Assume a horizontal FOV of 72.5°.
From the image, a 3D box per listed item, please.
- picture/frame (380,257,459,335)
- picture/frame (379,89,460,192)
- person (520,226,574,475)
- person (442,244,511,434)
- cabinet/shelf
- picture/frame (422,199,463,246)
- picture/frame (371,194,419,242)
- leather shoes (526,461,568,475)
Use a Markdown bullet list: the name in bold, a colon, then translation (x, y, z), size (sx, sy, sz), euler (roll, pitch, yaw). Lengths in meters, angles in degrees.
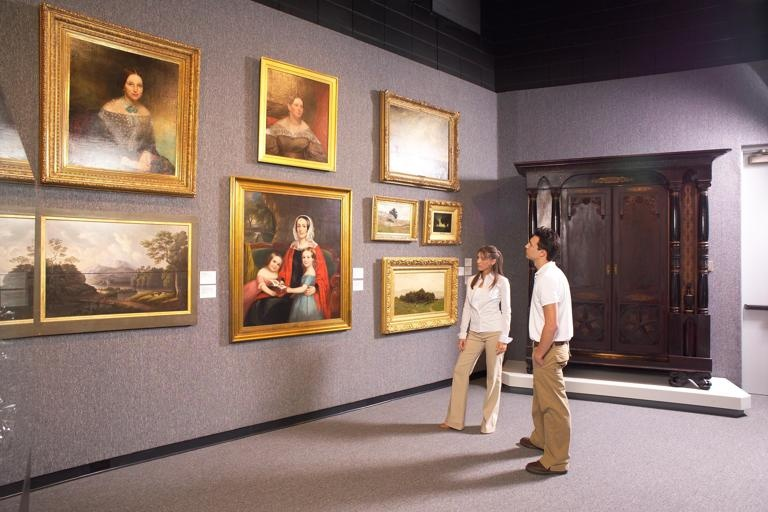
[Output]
- **picture/frame**: translation (0.475, 0.585, 7.908), size (0.075, 0.876, 1.242), euler (-2, -1, 45)
- **picture/frame**: translation (0.557, -1.703, 8.006), size (1.727, 1.358, 0.127), euler (1, -1, -40)
- **person**: translation (1.734, 0.969, 5.549), size (0.517, 2.513, 0.607), euler (2, 6, 16)
- **person**: translation (1.155, 1.008, 6.501), size (0.759, 2.238, 0.522), euler (1, 6, 9)
- **cabinet/shelf**: translation (3.564, 0.209, 7.507), size (3.492, 4.122, 1.122), euler (-2, -4, 24)
- **picture/frame**: translation (0.919, -0.526, 8.316), size (0.814, 0.671, 0.089), euler (0, 2, -37)
- **picture/frame**: translation (0.135, -0.530, 7.679), size (0.839, 0.620, 0.063), euler (8, 9, 37)
- **leather shoes**: translation (1.666, 2.202, 5.402), size (0.333, 0.143, 0.161), euler (4, -1, 5)
